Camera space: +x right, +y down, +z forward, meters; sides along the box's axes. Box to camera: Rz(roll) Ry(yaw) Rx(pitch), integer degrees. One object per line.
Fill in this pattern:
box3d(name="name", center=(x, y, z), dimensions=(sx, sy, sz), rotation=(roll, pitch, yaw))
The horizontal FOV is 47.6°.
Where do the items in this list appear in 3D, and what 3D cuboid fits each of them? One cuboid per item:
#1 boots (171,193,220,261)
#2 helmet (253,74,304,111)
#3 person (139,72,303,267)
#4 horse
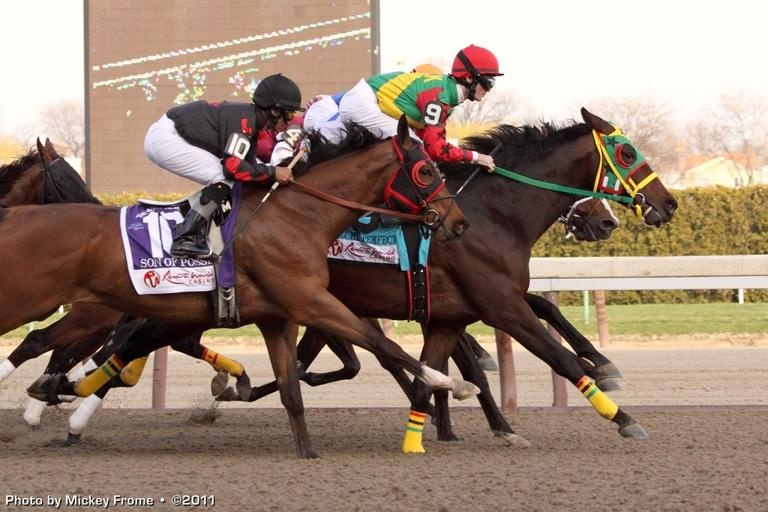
box3d(name="boots", center=(-1.177, -0.171, 5.378), dimensions=(0.312, 0.407, 0.129), rotation=(-5, 7, -9))
box3d(name="helmet", center=(-0.648, -1.044, 5.695), dimensions=(0.340, 0.206, 0.215), rotation=(18, 27, -9))
box3d(name="person", center=(-1.003, -0.577, 5.622), dimensions=(1.000, 1.139, 0.584), rotation=(-6, 7, -14))
box3d(name="horse", center=(0.015, 0.194, 5.792), dimensions=(4.320, 2.220, 1.275), rotation=(-6, 6, -23))
